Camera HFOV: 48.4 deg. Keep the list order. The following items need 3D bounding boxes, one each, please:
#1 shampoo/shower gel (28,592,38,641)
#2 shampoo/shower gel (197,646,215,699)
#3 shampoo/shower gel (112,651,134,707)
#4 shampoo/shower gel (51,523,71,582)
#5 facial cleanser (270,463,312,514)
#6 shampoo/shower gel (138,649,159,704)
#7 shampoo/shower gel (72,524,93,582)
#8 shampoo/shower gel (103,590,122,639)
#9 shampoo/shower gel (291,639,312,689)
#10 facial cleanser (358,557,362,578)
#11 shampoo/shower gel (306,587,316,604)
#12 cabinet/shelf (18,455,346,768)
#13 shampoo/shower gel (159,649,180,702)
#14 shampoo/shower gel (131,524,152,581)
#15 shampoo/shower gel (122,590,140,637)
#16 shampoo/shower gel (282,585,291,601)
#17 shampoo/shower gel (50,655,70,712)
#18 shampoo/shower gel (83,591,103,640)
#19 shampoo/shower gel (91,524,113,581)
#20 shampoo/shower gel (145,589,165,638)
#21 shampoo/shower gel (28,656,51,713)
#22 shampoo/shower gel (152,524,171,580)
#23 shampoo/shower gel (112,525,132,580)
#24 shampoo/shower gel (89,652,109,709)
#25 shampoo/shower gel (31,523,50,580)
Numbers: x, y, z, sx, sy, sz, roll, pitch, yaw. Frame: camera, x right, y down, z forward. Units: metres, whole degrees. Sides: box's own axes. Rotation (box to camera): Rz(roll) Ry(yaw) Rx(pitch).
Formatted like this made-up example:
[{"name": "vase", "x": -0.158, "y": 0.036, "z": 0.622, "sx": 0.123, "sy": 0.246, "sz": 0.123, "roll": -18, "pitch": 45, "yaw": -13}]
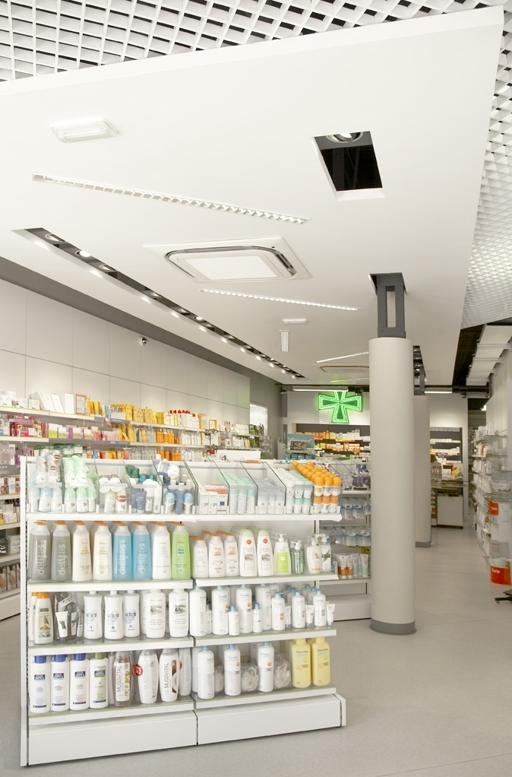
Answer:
[{"name": "shampoo/shower gel", "x": -1.234, "y": 1.250, "z": 3.114, "sx": 0.062, "sy": 0.258, "sz": 0.022, "roll": 0, "pitch": -5, "yaw": 15}, {"name": "shampoo/shower gel", "x": -0.281, "y": 1.645, "z": 3.312, "sx": 0.130, "sy": 0.274, "sz": 0.118, "roll": 4, "pitch": -6, "yaw": -25}, {"name": "shampoo/shower gel", "x": -0.759, "y": 1.625, "z": 3.200, "sx": 0.117, "sy": 0.063, "sz": 0.329, "roll": 14, "pitch": 34, "yaw": -22}, {"name": "shampoo/shower gel", "x": -1.086, "y": 0.913, "z": 3.179, "sx": 0.110, "sy": 0.301, "sz": 0.106, "roll": 5, "pitch": -7, "yaw": -37}, {"name": "facial cleanser", "x": 0.246, "y": 0.651, "z": 3.629, "sx": 0.155, "sy": 0.250, "sz": 0.204, "roll": 2, "pitch": -4, "yaw": -5}, {"name": "shampoo/shower gel", "x": -0.614, "y": 1.620, "z": 3.223, "sx": 0.123, "sy": 0.281, "sz": 0.125, "roll": 2, "pitch": -5, "yaw": -9}, {"name": "shampoo/shower gel", "x": -0.989, "y": 0.925, "z": 3.225, "sx": 0.114, "sy": 0.301, "sz": 0.149, "roll": 4, "pitch": -6, "yaw": -24}, {"name": "shampoo/shower gel", "x": -0.798, "y": 1.271, "z": 3.193, "sx": 0.114, "sy": 0.252, "sz": 0.074, "roll": 3, "pitch": -5, "yaw": -15}, {"name": "shampoo/shower gel", "x": 0.278, "y": 1.685, "z": 3.529, "sx": 0.118, "sy": 0.299, "sz": 0.103, "roll": 2, "pitch": -7, "yaw": -11}, {"name": "facial cleanser", "x": 1.203, "y": 2.044, "z": 6.485, "sx": 0.064, "sy": 0.203, "sz": 0.017, "roll": 2, "pitch": -5, "yaw": -12}, {"name": "shampoo/shower gel", "x": 0.351, "y": 1.327, "z": 3.659, "sx": 0.071, "sy": 0.136, "sz": 0.071, "roll": 1, "pitch": 1, "yaw": 2}, {"name": "cabinet/shelf", "x": -0.462, "y": 1.315, "z": 3.271, "sx": 1.825, "sy": 1.510, "sz": 0.355, "roll": 2, "pitch": -6, "yaw": -20}, {"name": "shampoo/shower gel", "x": -0.494, "y": 1.630, "z": 3.251, "sx": 0.124, "sy": 0.282, "sz": 0.098, "roll": 3, "pitch": -6, "yaw": -19}, {"name": "shampoo/shower gel", "x": -0.659, "y": 0.944, "z": 3.276, "sx": 0.123, "sy": 0.299, "sz": 0.058, "roll": 2, "pitch": -5, "yaw": -12}, {"name": "shampoo/shower gel", "x": -0.715, "y": 1.285, "z": 3.241, "sx": 0.082, "sy": 0.247, "sz": 0.076, "roll": -1, "pitch": -6, "yaw": 22}, {"name": "shampoo/shower gel", "x": 0.210, "y": 1.318, "z": 3.655, "sx": 0.045, "sy": 0.090, "sz": 0.046, "roll": 4, "pitch": -3, "yaw": -31}, {"name": "shampoo/shower gel", "x": -1.068, "y": 1.593, "z": 3.090, "sx": 0.104, "sy": 0.287, "sz": 0.050, "roll": 4, "pitch": -6, "yaw": -23}, {"name": "shampoo/shower gel", "x": -0.927, "y": 1.273, "z": 3.209, "sx": 0.131, "sy": 0.252, "sz": 0.110, "roll": 1, "pitch": -5, "yaw": -1}, {"name": "shampoo/shower gel", "x": -0.875, "y": 0.933, "z": 3.235, "sx": 0.111, "sy": 0.300, "sz": 0.107, "roll": 3, "pitch": -5, "yaw": -16}, {"name": "shampoo/shower gel", "x": -0.588, "y": 1.288, "z": 3.277, "sx": 0.133, "sy": 0.261, "sz": 0.119, "roll": 2, "pitch": -5, "yaw": -10}, {"name": "shampoo/shower gel", "x": -1.170, "y": 1.587, "z": 3.064, "sx": 0.112, "sy": 0.289, "sz": 0.053, "roll": 3, "pitch": -6, "yaw": -21}, {"name": "shampoo/shower gel", "x": -0.572, "y": 0.955, "z": 3.329, "sx": 0.166, "sy": 0.292, "sz": 0.101, "roll": -3, "pitch": -7, "yaw": 40}, {"name": "shampoo/shower gel", "x": -0.768, "y": 0.940, "z": 3.254, "sx": 0.114, "sy": 0.294, "sz": 0.064, "roll": 3, "pitch": -5, "yaw": -15}, {"name": "shampoo/shower gel", "x": -0.863, "y": 1.603, "z": 3.141, "sx": 0.116, "sy": 0.290, "sz": 0.085, "roll": 4, "pitch": -6, "yaw": -30}, {"name": "shampoo/shower gel", "x": -1.196, "y": 0.900, "z": 3.140, "sx": 0.114, "sy": 0.314, "sz": 0.070, "roll": 3, "pitch": -6, "yaw": -22}]
